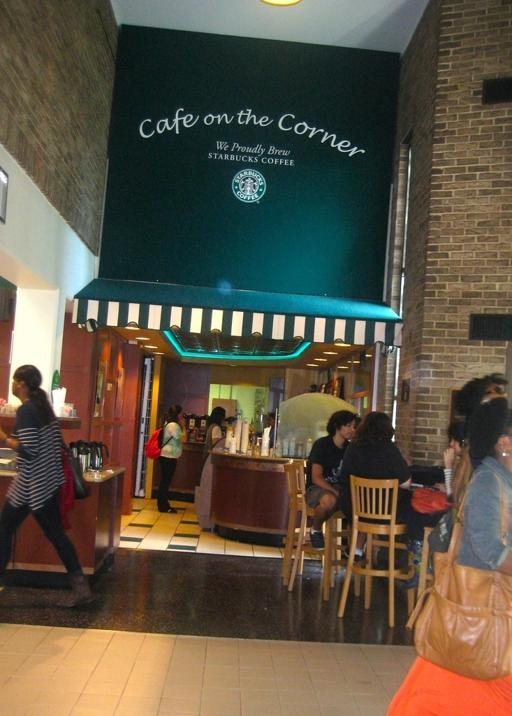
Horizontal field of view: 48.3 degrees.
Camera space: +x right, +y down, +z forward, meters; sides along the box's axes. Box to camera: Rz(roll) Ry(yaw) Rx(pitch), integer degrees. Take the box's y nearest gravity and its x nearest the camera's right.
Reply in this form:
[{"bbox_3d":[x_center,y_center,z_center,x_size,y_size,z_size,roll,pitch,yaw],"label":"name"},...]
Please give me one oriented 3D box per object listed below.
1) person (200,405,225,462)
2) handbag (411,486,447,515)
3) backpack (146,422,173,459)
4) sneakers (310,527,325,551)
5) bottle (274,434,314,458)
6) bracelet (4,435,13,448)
[{"bbox_3d":[-0.544,1.016,7.720,0.245,0.724,1.025,7,-9,-4],"label":"person"},{"bbox_3d":[0.933,0.763,3.090,0.139,0.062,0.189,4,5,17],"label":"handbag"},{"bbox_3d":[-1.428,1.232,8.263,0.229,0.425,0.348,11,-10,-30],"label":"backpack"},{"bbox_3d":[0.525,1.516,4.868,0.098,0.241,0.101,-6,-21,-3],"label":"sneakers"},{"bbox_3d":[0.476,1.102,7.062,0.441,0.271,0.615,1,-7,-1],"label":"bottle"},{"bbox_3d":[-1.573,0.538,3.636,0.056,0.066,0.114,9,-9,-22],"label":"bracelet"}]
